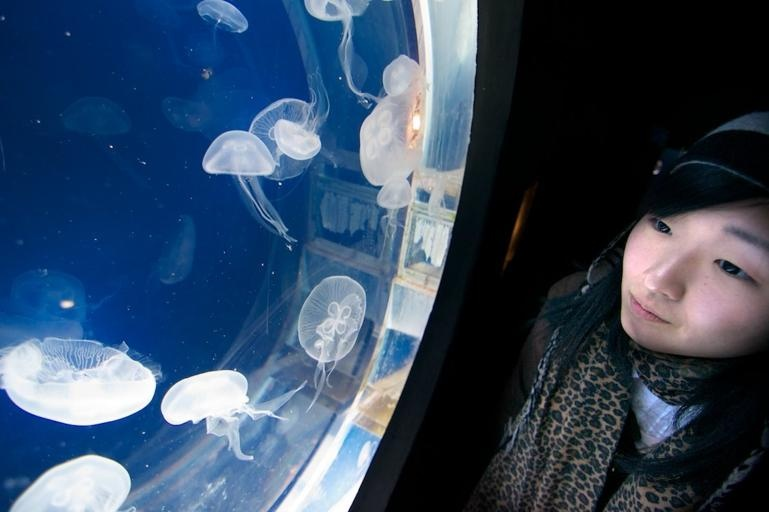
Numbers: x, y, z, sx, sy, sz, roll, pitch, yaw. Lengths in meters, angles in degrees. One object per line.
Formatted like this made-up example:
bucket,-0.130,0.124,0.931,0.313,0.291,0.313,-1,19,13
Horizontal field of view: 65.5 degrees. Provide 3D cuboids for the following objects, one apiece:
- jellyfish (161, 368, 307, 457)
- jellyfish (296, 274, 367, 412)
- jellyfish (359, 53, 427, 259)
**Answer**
jellyfish,-0.504,0.553,2.025,0.481,0.320,0.226,5,-9,-22
jellyfish,-0.200,0.332,2.287,0.152,0.507,0.346,-4,-9,33
jellyfish,0.035,-0.371,2.302,0.220,0.760,0.270,7,15,19
